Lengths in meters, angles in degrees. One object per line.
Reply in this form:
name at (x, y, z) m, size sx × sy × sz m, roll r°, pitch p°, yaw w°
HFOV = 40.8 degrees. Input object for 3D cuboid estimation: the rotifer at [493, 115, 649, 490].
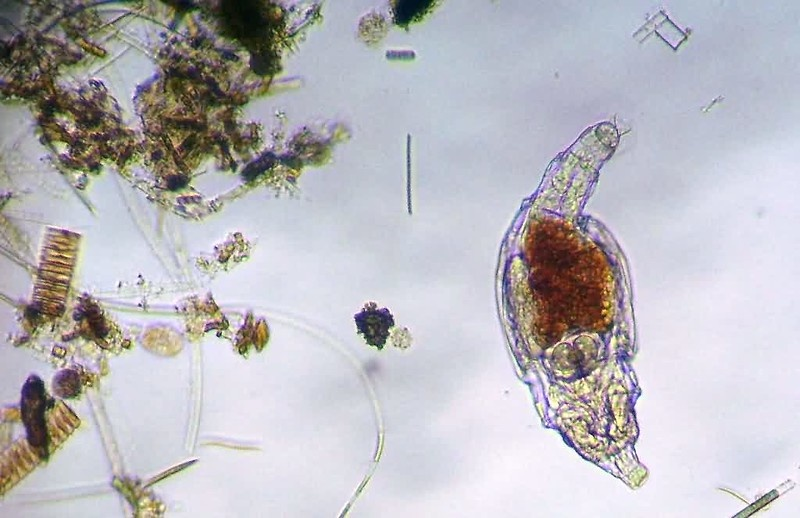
rotifer at (2.758, 0.840, 17.378) m, size 1.987 × 2.357 × 4.777 m, roll -6°, pitch -65°, yaw -8°
